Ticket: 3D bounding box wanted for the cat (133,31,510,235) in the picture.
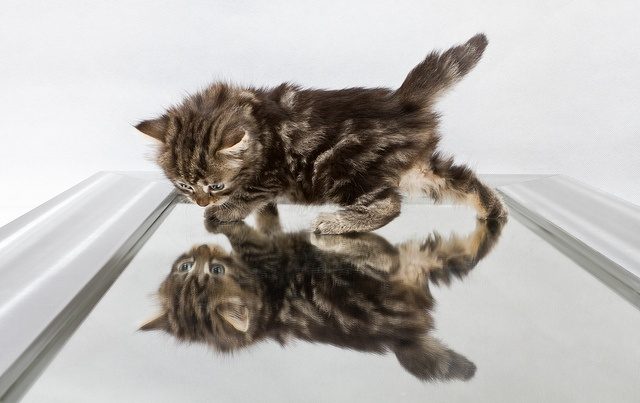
[{"bbox_3d":[0.010,-0.348,2.033,1.609,0.644,0.810,-1,-74,0],"label":"cat"}]
